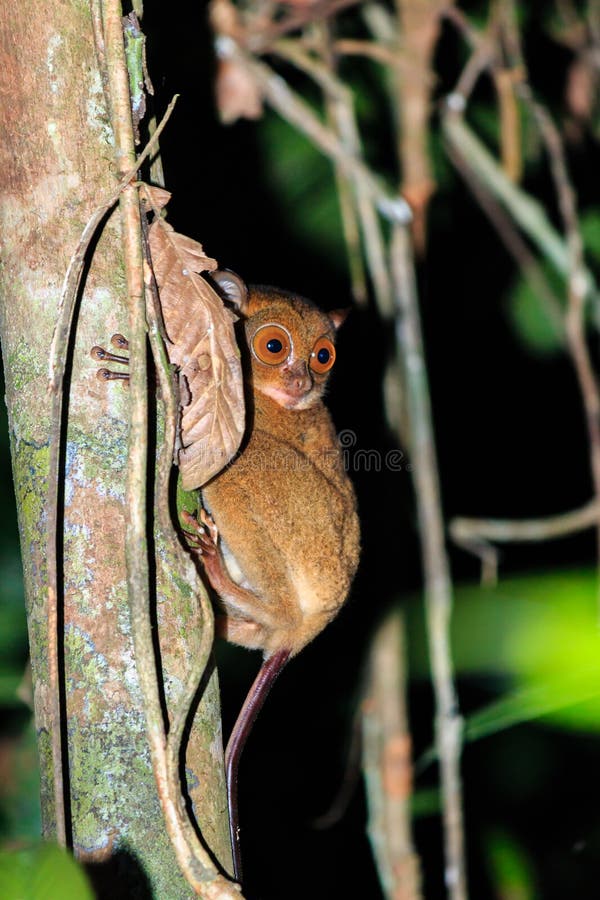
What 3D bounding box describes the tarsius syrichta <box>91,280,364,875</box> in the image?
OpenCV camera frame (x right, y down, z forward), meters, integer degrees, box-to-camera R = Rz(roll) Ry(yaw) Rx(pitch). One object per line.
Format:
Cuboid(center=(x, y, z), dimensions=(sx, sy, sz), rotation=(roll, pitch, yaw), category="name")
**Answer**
Cuboid(center=(-0.093, 0.240, 2.773), dimensions=(0.459, 0.412, 1.473), rotation=(-29, 60, 29), category="tarsius syrichta")
